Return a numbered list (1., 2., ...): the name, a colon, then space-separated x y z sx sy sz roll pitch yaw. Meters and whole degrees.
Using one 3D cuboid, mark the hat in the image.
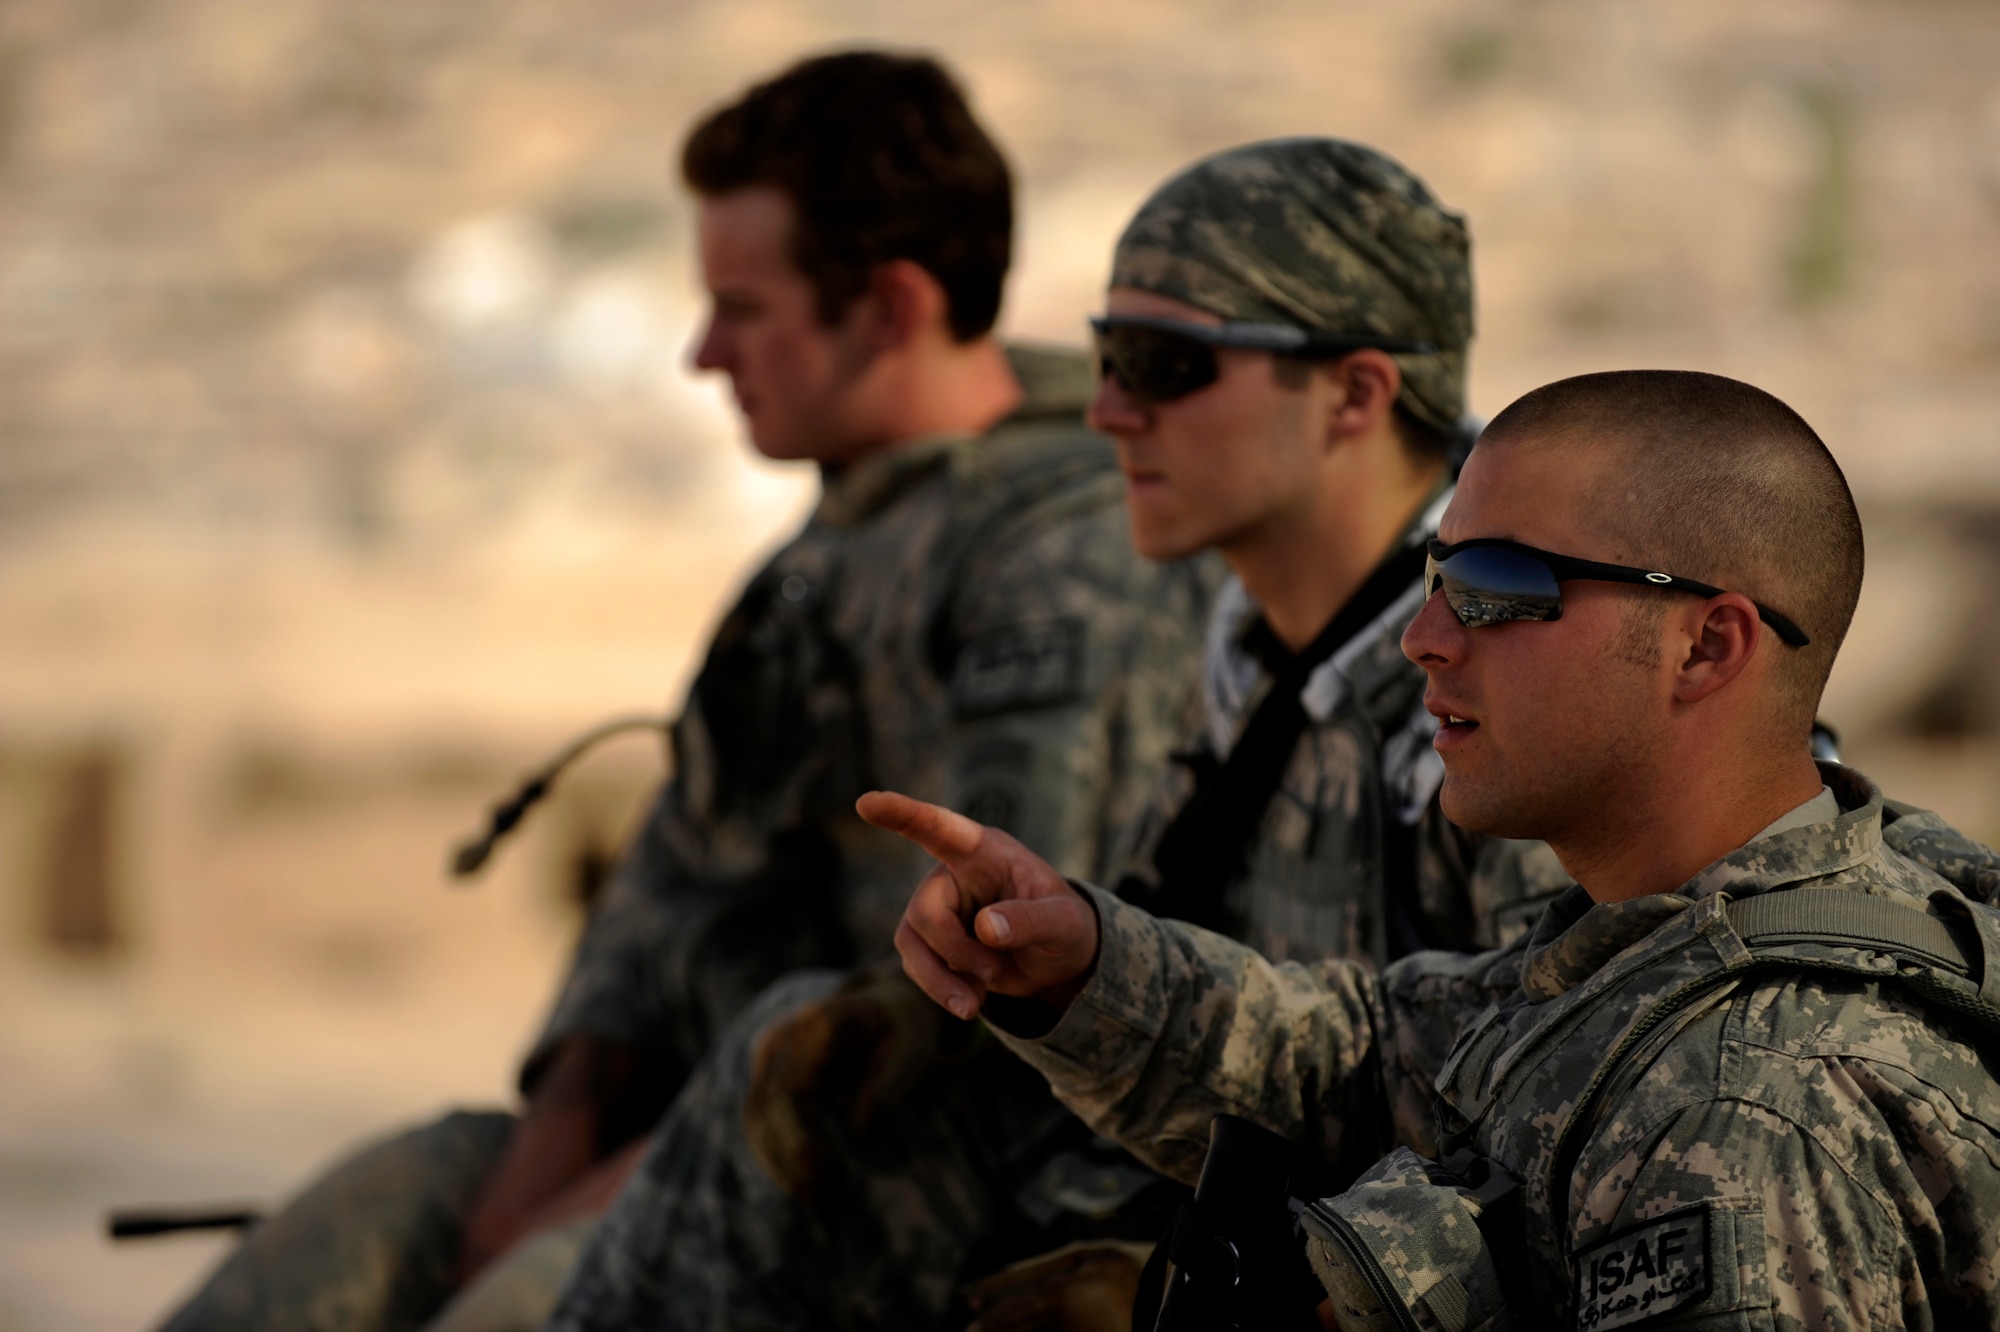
1. hat: 0.670 -0.929 8.372 0.847 0.602 0.604 5 7 -17
